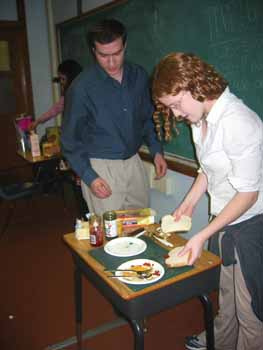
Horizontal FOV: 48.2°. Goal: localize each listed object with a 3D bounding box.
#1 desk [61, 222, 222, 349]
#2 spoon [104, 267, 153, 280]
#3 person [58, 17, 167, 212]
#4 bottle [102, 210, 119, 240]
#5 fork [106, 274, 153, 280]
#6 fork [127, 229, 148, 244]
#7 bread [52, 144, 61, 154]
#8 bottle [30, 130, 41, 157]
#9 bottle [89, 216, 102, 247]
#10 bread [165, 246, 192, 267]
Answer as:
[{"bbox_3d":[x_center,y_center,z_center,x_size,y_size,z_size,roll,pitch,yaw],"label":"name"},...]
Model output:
[{"bbox_3d":[0.054,0.509,1.252,0.455,0.445,0.516,-10,14,-30],"label":"desk"},{"bbox_3d":[-0.016,0.335,1.010,0.181,0.014,0.053,4,21,2],"label":"spoon"},{"bbox_3d":[-0.083,-0.317,1.894,0.685,1.178,0.400,-12,16,-38],"label":"person"},{"bbox_3d":[-0.091,0.228,1.316,0.060,0.125,0.062,-3,12,1],"label":"bottle"},{"bbox_3d":[-0.008,0.344,0.990,0.158,0.011,0.037,-1,12,6],"label":"fork"},{"bbox_3d":[0.026,0.272,1.333,0.040,0.016,0.165,3,14,25],"label":"fork"},{"bbox_3d":[-0.904,-0.320,3.542,0.142,0.131,0.033,-4,-5,-19],"label":"bread"},{"bbox_3d":[-1.161,-0.383,3.550,0.102,0.304,0.179,-6,13,-17],"label":"bottle"},{"bbox_3d":[-0.158,0.241,1.279,0.059,0.116,0.089,-4,12,-8],"label":"bottle"},{"bbox_3d":[0.175,0.311,1.078,0.081,0.019,0.081,-20,18,5],"label":"bread"}]
